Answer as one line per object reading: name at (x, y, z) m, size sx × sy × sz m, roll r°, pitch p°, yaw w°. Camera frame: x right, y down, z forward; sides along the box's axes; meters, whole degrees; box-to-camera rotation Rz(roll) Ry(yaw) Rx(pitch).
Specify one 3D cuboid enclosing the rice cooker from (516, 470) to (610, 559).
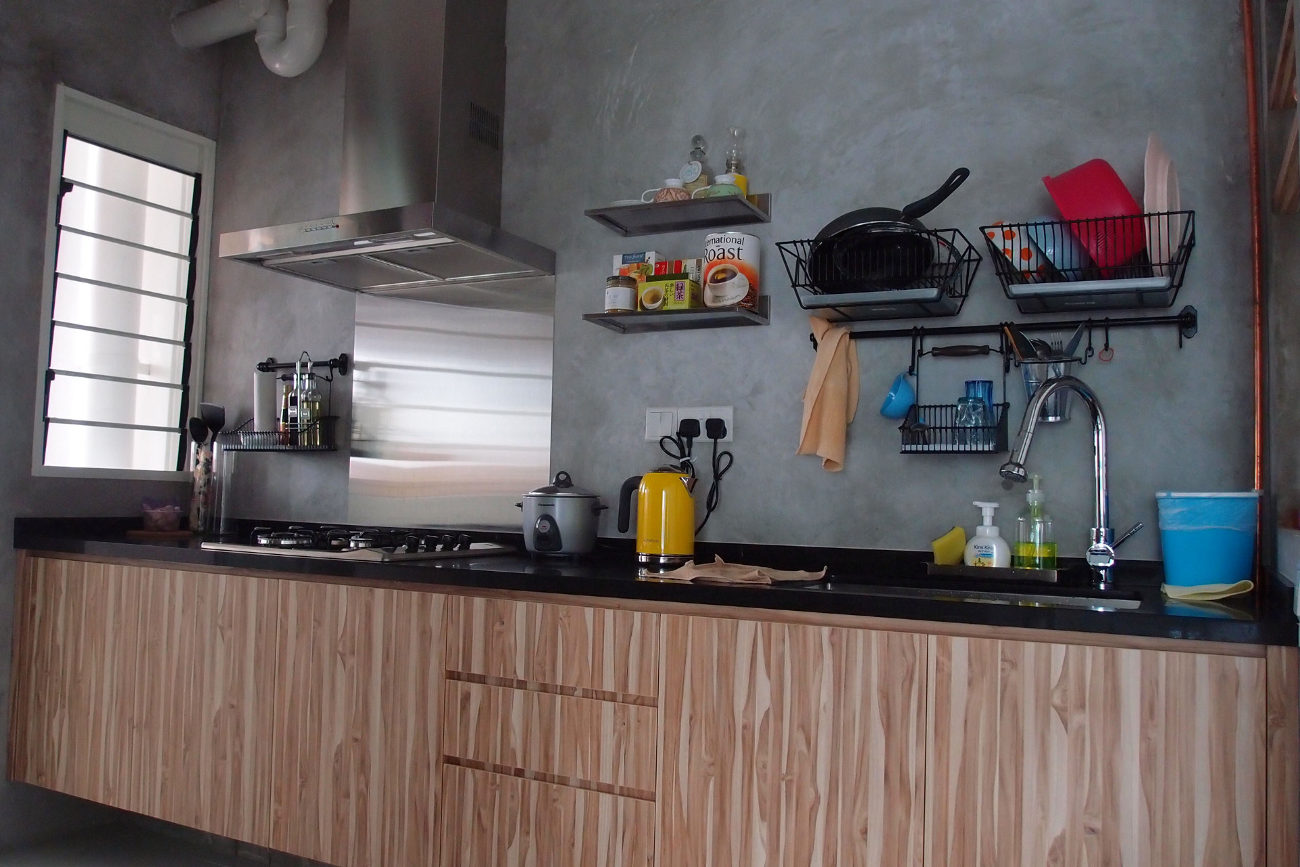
rice cooker at (-0.289, 0.268, 3.779) m, size 0.234 × 0.278 × 0.242 m, roll 3°, pitch 1°, yaw -43°

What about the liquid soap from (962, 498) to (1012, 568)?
liquid soap at (1.060, 0.317, 3.489) m, size 0.180 × 0.309 × 0.113 m, roll -1°, pitch -3°, yaw 25°

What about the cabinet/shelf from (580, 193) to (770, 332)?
cabinet/shelf at (0.111, -0.604, 3.871) m, size 0.600 × 0.482 × 0.264 m, roll 1°, pitch -4°, yaw 18°

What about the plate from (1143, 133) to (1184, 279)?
plate at (1.554, -0.670, 3.347) m, size 0.215 × 0.398 × 0.087 m, roll 6°, pitch -5°, yaw -44°

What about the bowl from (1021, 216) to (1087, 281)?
bowl at (1.245, -0.562, 3.433) m, size 0.048 × 0.186 × 0.184 m, roll -23°, pitch 14°, yaw -24°

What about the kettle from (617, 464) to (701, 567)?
kettle at (0.035, 0.280, 3.805) m, size 0.257 × 0.334 × 0.396 m, roll 2°, pitch -4°, yaw 1°

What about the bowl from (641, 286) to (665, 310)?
bowl at (0.017, -0.457, 3.819) m, size 0.086 × 0.068 × 0.021 m, roll 0°, pitch -4°, yaw 34°

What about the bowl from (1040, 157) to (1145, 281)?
bowl at (1.361, -0.657, 3.370) m, size 0.244 × 0.362 × 0.060 m, roll -29°, pitch -21°, yaw 21°
